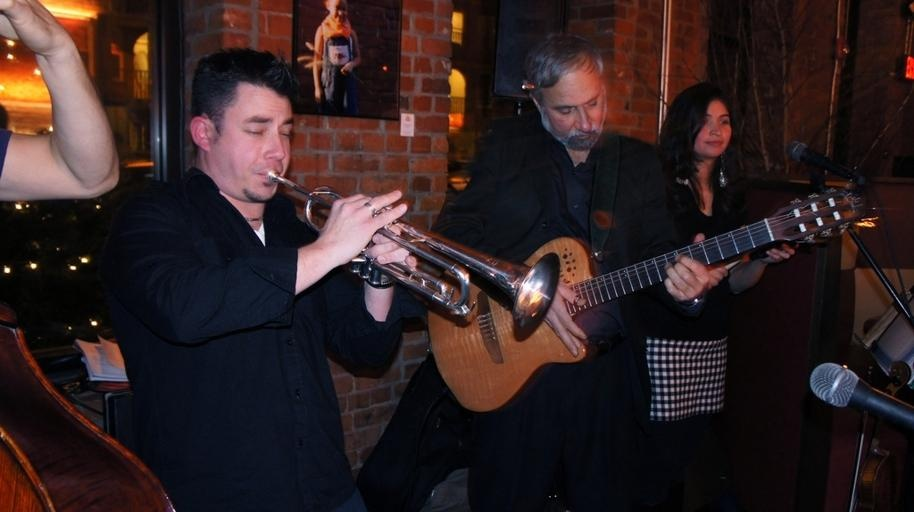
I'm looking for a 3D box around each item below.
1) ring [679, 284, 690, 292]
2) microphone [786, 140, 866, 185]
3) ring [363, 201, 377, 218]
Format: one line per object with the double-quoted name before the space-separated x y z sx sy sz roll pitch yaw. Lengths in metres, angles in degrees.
"ring" 1.182 0.161 3.497 0.045 0.040 0.013 -4 1 16
"microphone" 1.881 -0.464 3.401 0.335 0.212 0.284 4 9 32
"ring" -0.381 -0.200 2.926 0.066 0.058 0.018 18 -35 -42
